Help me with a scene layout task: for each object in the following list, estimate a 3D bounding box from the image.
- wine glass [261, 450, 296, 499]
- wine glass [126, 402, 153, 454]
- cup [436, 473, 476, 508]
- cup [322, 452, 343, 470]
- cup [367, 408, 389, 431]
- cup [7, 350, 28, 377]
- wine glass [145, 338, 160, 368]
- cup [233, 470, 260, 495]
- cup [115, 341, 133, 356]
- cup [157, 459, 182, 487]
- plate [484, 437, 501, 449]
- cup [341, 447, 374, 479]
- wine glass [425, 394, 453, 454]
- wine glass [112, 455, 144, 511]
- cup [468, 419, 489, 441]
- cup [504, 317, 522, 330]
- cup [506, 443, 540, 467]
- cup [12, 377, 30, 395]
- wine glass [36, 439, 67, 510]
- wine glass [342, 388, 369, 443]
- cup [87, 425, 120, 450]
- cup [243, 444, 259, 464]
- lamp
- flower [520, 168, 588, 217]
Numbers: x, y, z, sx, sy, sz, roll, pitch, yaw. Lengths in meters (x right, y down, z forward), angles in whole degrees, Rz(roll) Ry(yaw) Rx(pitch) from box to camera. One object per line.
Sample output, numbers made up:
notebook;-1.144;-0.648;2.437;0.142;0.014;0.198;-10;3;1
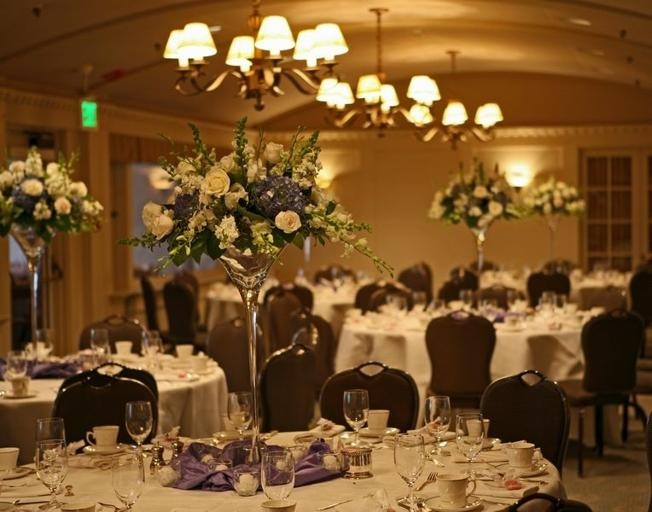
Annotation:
wine glass;-0.160;0.748;2.476;0.127;0.242;0.147;-3;-4;-10
wine glass;-0.734;0.681;2.741;0.093;0.208;0.278;1;-6;-15
cup;0.472;0.849;2.521;0.117;0.098;0.097;11;-18;-32
cup;0.028;0.827;2.789;0.076;0.060;0.056;2;-6;-18
cup;0.243;0.756;3.255;0.080;0.077;0.088;1;-1;0
cup;-1.833;0.651;4.147;0.101;0.162;0.224;3;-7;-27
wine glass;-1.151;0.654;4.646;0.100;0.207;0.314;1;-6;-13
cup;-0.294;0.849;2.589;0.068;0.065;0.083;2;-3;-1
cup;-1.432;0.651;4.946;0.131;0.119;0.129;2;2;0
cup;-0.606;0.853;2.737;0.081;0.084;0.106;0;-6;3
plate;0.749;0.842;3.134;0.069;0.036;0.177;-2;-7;17
cup;0.131;0.826;2.778;0.096;0.103;0.106;0;4;0
wine glass;0.484;0.727;2.992;0.109;0.259;0.277;0;-6;9
wine glass;-0.675;0.777;2.378;0.096;0.218;0.204;2;-6;-18
cup;0.589;0.669;2.694;0.058;0.077;0.121;-5;-8;44
cup;1.535;0.552;5.676;0.112;0.095;0.120;-3;2;0
cup;0.792;0.808;2.830;0.079;0.086;0.109;-2;-14;14
cup;-1.781;0.765;4.069;0.096;0.109;0.096;0;-5;0
wine glass;-1.010;0.786;2.561;0.102;0.238;0.218;2;-6;-23
wine glass;0.137;0.687;2.956;0.090;0.231;0.150;-1;-5;16
cup;-1.002;0.788;3.077;0.155;0.131;0.124;-1;0;-3
cup;-0.285;0.799;2.796;0.054;0.077;0.149;-2;-16;-1
lamp;0.108;-1.426;5.815;2.723;1.219;1.765;1;10;-22
flower;1.869;-0.512;5.807;0.308;0.273;0.331;7;-5;-43
